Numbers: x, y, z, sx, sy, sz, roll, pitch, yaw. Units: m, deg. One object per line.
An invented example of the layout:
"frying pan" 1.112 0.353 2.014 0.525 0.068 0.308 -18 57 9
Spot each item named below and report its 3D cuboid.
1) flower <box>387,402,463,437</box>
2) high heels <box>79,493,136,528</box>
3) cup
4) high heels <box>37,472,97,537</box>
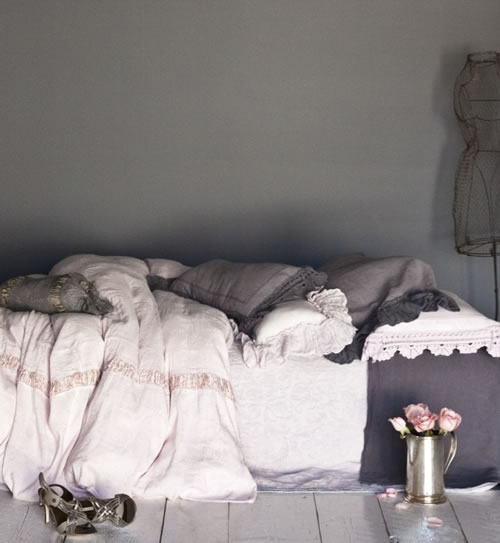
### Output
"flower" 0.633 0.513 2.725 0.191 0.082 0.171 -1 -5 -25
"high heels" -0.454 0.781 2.531 0.179 0.060 0.098 -3 3 21
"cup" 0.617 0.694 2.712 0.138 0.246 0.099 -1 -10 3
"high heels" -0.668 0.773 2.583 0.335 0.117 0.114 7 9 38
